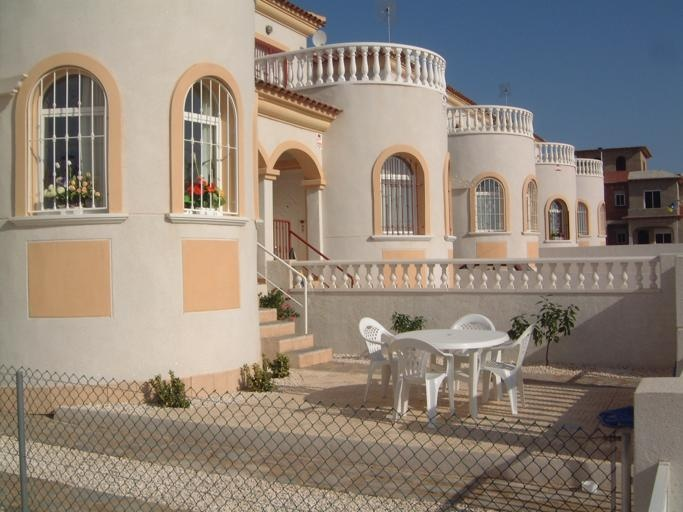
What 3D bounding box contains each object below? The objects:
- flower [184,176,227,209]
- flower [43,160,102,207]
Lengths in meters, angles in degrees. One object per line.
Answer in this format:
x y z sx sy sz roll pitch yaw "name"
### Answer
-2.297 -1.038 12.596 0.345 0.556 0.834 -1 -1 33 "flower"
-4.299 -1.139 11.880 0.936 0.776 0.360 0 -1 16 "flower"
